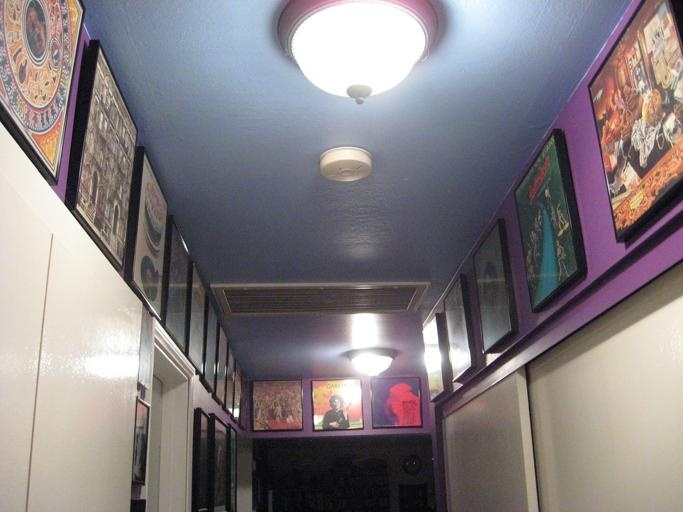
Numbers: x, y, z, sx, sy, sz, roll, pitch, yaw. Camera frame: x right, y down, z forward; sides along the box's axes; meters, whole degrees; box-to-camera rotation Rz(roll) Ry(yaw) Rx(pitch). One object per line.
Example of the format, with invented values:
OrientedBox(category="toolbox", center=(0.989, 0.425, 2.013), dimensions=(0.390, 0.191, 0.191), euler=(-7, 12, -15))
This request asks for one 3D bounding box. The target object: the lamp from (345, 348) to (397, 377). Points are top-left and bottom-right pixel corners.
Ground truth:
OrientedBox(category="lamp", center=(0.342, 1.160, 5.449), dimensions=(0.586, 0.210, 0.350), euler=(-4, -28, 0))

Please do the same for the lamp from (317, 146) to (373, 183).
OrientedBox(category="lamp", center=(0.024, -0.429, 2.271), dimensions=(0.248, 0.083, 0.163), euler=(-4, -28, 1))
